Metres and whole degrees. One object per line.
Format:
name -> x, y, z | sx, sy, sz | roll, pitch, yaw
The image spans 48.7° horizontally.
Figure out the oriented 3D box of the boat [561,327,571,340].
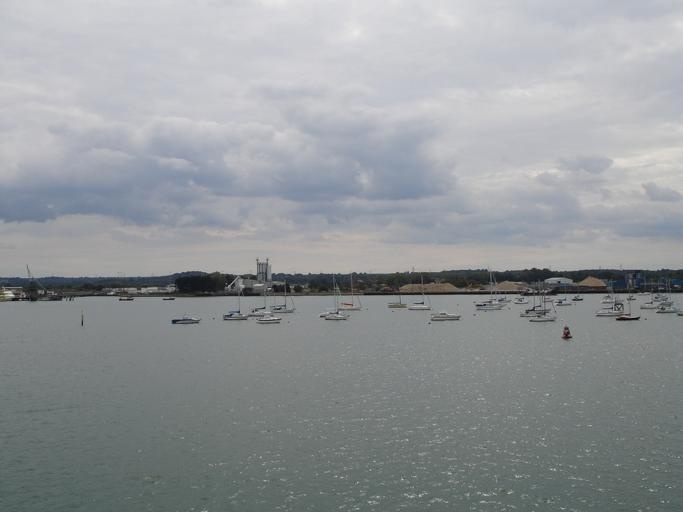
boat -> 33.701, 11.536, 113.333 | 2.062, 1.974, 1.999 | -2, -1, 27
